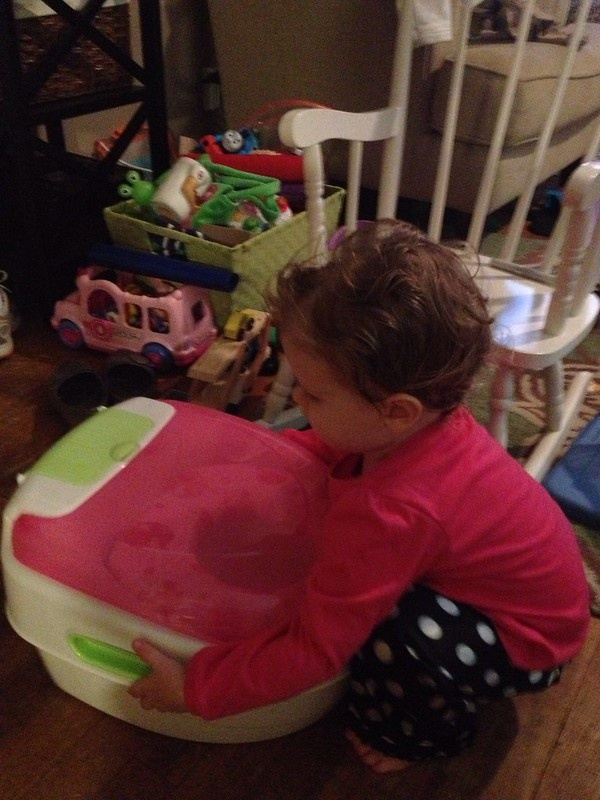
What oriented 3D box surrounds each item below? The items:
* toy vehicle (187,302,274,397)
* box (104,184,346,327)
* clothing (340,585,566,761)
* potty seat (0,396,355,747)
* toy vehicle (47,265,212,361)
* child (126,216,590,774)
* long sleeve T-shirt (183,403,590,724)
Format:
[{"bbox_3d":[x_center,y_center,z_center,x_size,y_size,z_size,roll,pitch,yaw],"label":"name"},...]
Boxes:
[{"bbox_3d":[-0.131,-0.087,1.252,0.064,0.066,0.198,13,35,17],"label":"toy vehicle"},{"bbox_3d":[-0.157,-0.282,1.516,0.463,0.257,0.316,22,48,27],"label":"box"},{"bbox_3d":[0.133,0.294,0.658,0.118,0.185,0.145,-35,84,-27],"label":"clothing"},{"bbox_3d":[-0.148,0.228,0.821,0.413,0.213,0.332,19,40,18],"label":"potty seat"},{"bbox_3d":[-0.342,-0.177,1.395,0.381,0.170,0.156,15,34,22],"label":"toy vehicle"},{"bbox_3d":[0.024,0.030,0.810,0.557,0.573,0.457,4,36,26],"label":"child"},{"bbox_3d":[0.053,0.138,0.718,0.443,0.253,0.346,0,21,-15],"label":"long sleeve T-shirt"}]
